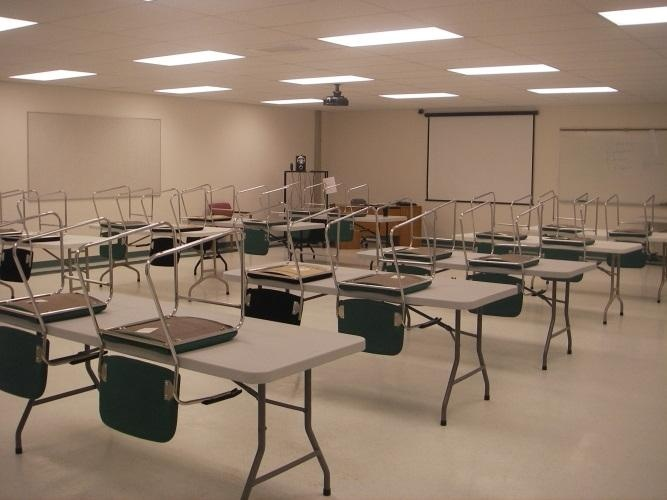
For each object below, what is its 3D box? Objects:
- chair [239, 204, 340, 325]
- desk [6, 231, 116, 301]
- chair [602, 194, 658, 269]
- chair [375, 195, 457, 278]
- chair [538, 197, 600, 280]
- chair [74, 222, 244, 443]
[{"bbox_3d":[-0.348,0.157,3.774,0.442,0.672,0.468,11,9,23],"label":"chair"},{"bbox_3d":[-2.790,0.105,5.320,0.905,0.686,0.929,-2,-1,-4],"label":"desk"},{"bbox_3d":[3.761,-0.284,6.789,0.565,0.846,0.533,-1,8,36],"label":"chair"},{"bbox_3d":[1.167,-0.236,7.380,0.784,1.010,1.535,5,7,29],"label":"chair"},{"bbox_3d":[2.640,-0.146,6.024,0.563,0.940,0.618,18,29,28],"label":"chair"},{"bbox_3d":[-0.746,0.395,2.495,0.631,1.058,0.533,3,9,30],"label":"chair"}]
